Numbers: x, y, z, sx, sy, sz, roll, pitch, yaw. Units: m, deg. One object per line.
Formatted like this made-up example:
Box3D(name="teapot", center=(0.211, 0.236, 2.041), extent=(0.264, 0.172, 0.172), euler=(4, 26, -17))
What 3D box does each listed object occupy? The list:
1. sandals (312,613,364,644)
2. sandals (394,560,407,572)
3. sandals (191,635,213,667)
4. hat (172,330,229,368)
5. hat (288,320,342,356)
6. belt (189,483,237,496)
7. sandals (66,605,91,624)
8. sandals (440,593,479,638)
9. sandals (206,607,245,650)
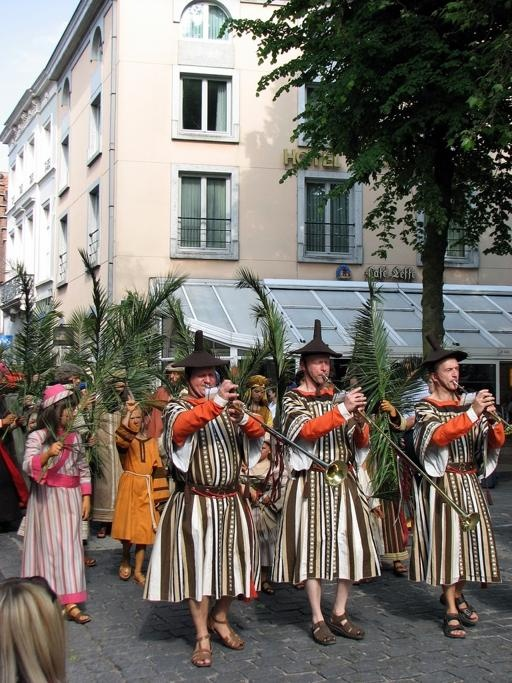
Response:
Box3D(name="sandals", center=(0.491, 1.714, 4.667), extent=(0.171, 0.067, 0.196), euler=(2, -4, -25))
Box3D(name="sandals", center=(1.275, 1.961, 6.703), extent=(0.072, 0.085, 0.214), euler=(-2, -18, -6))
Box3D(name="sandals", center=(-0.301, 1.693, 4.218), extent=(0.111, 0.135, 0.180), euler=(-1, -5, -4))
Box3D(name="hat", center=(-0.283, 0.091, 4.598), extent=(0.319, 0.216, 0.312), euler=(4, -7, -36))
Box3D(name="hat", center=(0.418, -0.031, 4.881), extent=(0.254, 0.166, 0.246), euler=(8, -10, -43))
Box3D(name="belt", center=(-0.233, 0.855, 4.437), extent=(0.304, 0.077, 0.071), euler=(1, -5, -26))
Box3D(name="sandals", center=(-1.184, 1.796, 5.086), extent=(0.082, 0.084, 0.202), euler=(-3, -1, -41))
Box3D(name="sandals", center=(1.290, 1.727, 4.844), extent=(0.137, 0.078, 0.364), euler=(-1, -1, 2))
Box3D(name="sandals", center=(-0.182, 1.697, 4.639), extent=(0.203, 0.224, 0.404), euler=(-1, -5, -3))
